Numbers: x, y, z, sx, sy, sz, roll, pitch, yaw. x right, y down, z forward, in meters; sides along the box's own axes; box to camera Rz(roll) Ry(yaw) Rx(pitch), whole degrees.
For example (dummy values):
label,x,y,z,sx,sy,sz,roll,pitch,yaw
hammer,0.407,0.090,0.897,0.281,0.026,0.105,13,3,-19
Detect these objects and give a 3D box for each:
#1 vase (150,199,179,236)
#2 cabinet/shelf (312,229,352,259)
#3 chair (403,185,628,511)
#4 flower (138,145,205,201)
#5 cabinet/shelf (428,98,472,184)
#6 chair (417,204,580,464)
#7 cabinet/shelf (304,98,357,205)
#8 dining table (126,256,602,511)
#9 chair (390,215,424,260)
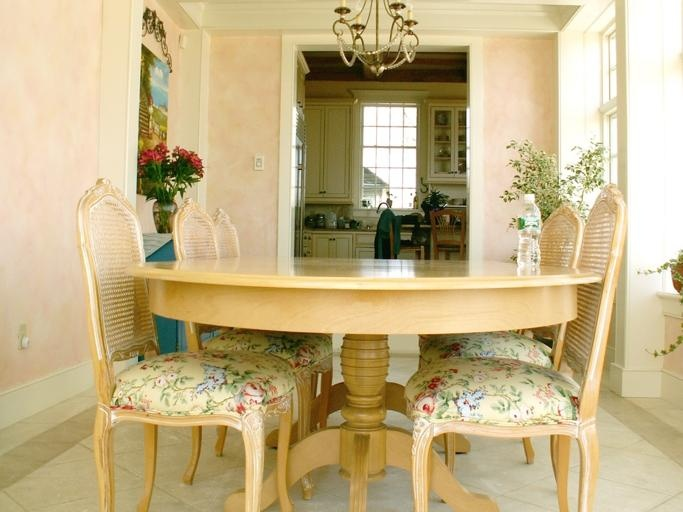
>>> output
label,x,y,z,sx,sy,sz,roll,pitch,yaw
vase,-1.306,-0.290,3.933,0.261,0.243,0.249,1,-5,-10
cabinet/shelf,-0.089,-0.151,7.412,0.685,0.598,0.359,0,-3,0
chair,0.608,0.341,2.493,1.187,1.635,1.034,1,-4,5
flower,-1.284,-0.640,3.984,0.506,0.473,0.514,5,4,-17
cabinet/shelf,1.592,-1.642,7.653,0.807,1.008,0.315,-2,10,-5
chair,0.653,0.415,2.008,0.615,0.834,0.527,3,18,8
cabinet/shelf,-0.361,-1.580,7.902,0.982,1.487,0.534,-5,17,-24
dining table,0.084,0.508,1.834,1.448,0.968,0.627,1,7,11
chair,0.751,-0.193,6.236,0.470,0.722,0.409,0,7,-3
